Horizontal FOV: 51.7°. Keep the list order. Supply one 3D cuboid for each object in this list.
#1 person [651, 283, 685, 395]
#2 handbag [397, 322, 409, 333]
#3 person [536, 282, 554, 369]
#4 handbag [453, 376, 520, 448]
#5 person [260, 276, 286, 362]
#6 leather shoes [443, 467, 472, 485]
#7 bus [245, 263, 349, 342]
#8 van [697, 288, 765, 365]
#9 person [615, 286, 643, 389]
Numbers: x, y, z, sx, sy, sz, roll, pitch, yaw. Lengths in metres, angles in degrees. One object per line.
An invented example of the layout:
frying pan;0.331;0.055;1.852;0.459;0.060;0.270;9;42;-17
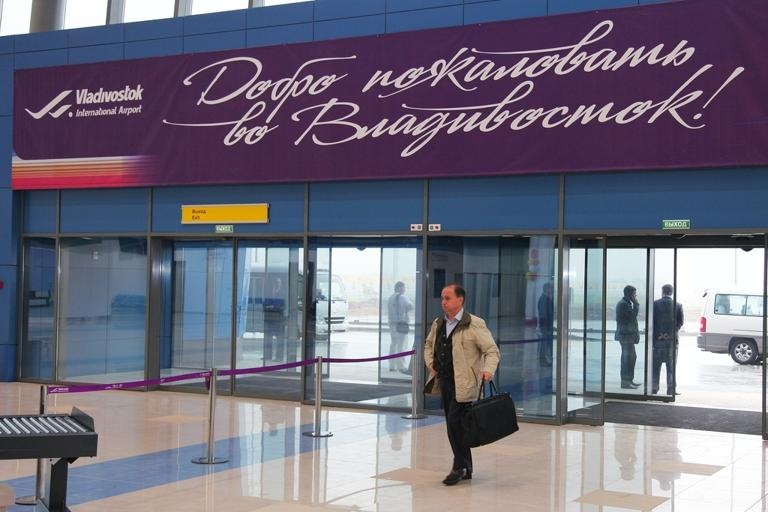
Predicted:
person;5.986;1.761;17.088;0.502;2.322;0.530;2;3;16
handbag;0.355;1.317;14.978;0.180;0.180;0.099;3;8;24
person;2.842;1.187;14.109;0.304;1.477;0.084;2;3;13
handbag;1.387;2.104;10.515;0.680;0.722;0.323;1;3;-12
person;-2.271;1.176;15.980;0.600;1.905;0.411;8;-22;-26
leather shoes;1.008;2.933;10.718;0.475;0.217;0.158;8;-11;-39
bus;-1.673;0.872;15.594;2.080;1.361;0.093;3;3;21
van;9.005;1.744;20.735;2.570;1.605;1.625;-2;-1;15
person;5.229;1.727;17.143;0.508;2.162;0.225;1;3;0
